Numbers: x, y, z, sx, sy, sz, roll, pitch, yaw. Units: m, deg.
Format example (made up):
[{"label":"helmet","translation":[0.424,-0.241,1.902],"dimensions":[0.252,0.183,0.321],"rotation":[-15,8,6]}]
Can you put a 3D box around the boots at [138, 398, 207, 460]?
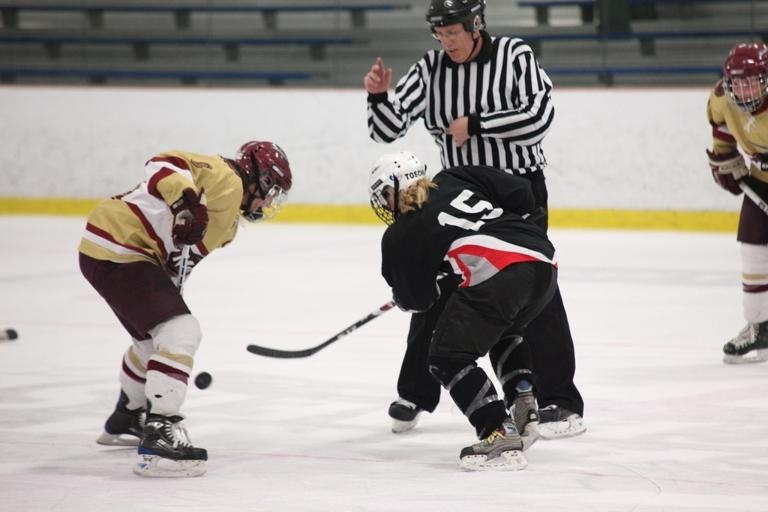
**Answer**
[{"label":"boots","translation":[-1.056,0.910,5.383],"dimensions":[0.400,0.252,0.143],"rotation":[12,-17,-34]}]

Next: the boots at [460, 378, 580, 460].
[{"label":"boots","translation":[0.709,0.846,5.473],"dimensions":[0.664,0.315,0.196],"rotation":[-13,-27,-35]}]

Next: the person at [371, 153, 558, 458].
[{"label":"person","translation":[0.398,0.266,5.478],"dimensions":[0.953,1.530,0.590],"rotation":[4,11,7]}]

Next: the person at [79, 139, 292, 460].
[{"label":"person","translation":[-1.035,0.234,5.439],"dimensions":[0.996,1.605,0.614],"rotation":[0,11,-15]}]

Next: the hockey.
[{"label":"hockey","translation":[-0.404,0.499,7.005],"dimensions":[1.235,0.256,0.095],"rotation":[-13,-18,6]}]

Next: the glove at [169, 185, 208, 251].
[{"label":"glove","translation":[-0.970,-0.186,5.342],"dimensions":[0.174,0.302,0.127],"rotation":[6,11,17]}]

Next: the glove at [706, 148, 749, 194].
[{"label":"glove","translation":[2.170,-0.535,6.721],"dimensions":[0.266,0.292,0.140],"rotation":[-2,7,25]}]
